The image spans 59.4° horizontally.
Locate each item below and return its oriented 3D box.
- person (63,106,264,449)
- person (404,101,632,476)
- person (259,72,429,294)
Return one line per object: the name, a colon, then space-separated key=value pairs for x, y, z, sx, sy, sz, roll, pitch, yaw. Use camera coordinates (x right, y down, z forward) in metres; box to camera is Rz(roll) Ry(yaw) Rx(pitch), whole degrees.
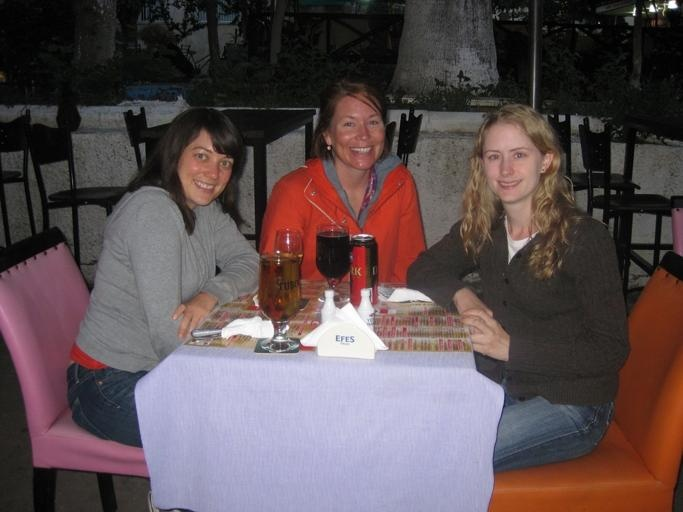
person: x=-0.551 y=0.073 z=2.214 sx=0.756 sy=1.108 sz=0.723 roll=-1 pitch=10 yaw=-42
person: x=0.579 y=0.099 z=2.158 sx=0.864 sy=1.153 sz=0.846 roll=4 pitch=17 yaw=40
person: x=0.017 y=-0.263 z=2.821 sx=0.792 sy=1.068 sz=0.598 roll=-6 pitch=25 yaw=-12
